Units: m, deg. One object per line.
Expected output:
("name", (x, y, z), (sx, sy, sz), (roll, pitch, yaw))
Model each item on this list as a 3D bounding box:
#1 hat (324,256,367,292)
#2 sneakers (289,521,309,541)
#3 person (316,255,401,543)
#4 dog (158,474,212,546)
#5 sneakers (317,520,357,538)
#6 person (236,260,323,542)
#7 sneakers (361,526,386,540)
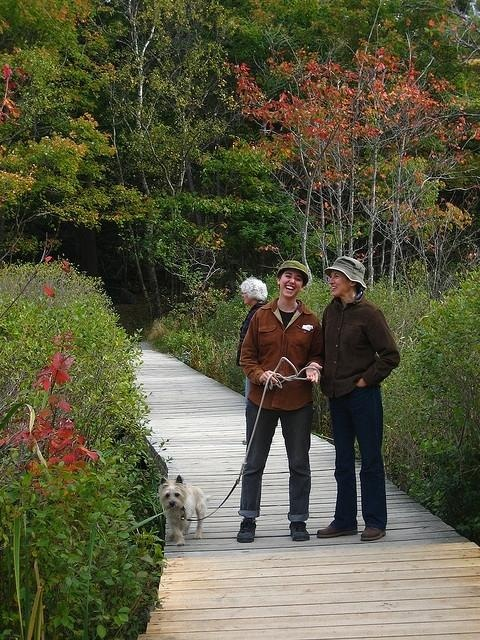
("hat", (0.596, -0.264, 3.661), (0.205, 0.094, 0.173), (23, -11, -32))
("sneakers", (0.329, 1.147, 3.673), (0.104, 0.101, 0.172), (-2, -1, 1))
("person", (0.652, 0.415, 3.679), (0.470, 1.526, 0.310), (-2, 0, 20))
("dog", (-0.328, 1.042, 3.745), (0.233, 0.379, 0.326), (-2, -1, 4))
("sneakers", (0.530, 1.161, 3.723), (0.250, 0.099, 0.078), (2, -6, -6))
("person", (0.217, 0.441, 3.671), (0.509, 1.527, 0.465), (-2, 0, 1))
("sneakers", (0.701, 1.130, 3.533), (0.050, 0.052, 0.136), (-10, -16, 32))
